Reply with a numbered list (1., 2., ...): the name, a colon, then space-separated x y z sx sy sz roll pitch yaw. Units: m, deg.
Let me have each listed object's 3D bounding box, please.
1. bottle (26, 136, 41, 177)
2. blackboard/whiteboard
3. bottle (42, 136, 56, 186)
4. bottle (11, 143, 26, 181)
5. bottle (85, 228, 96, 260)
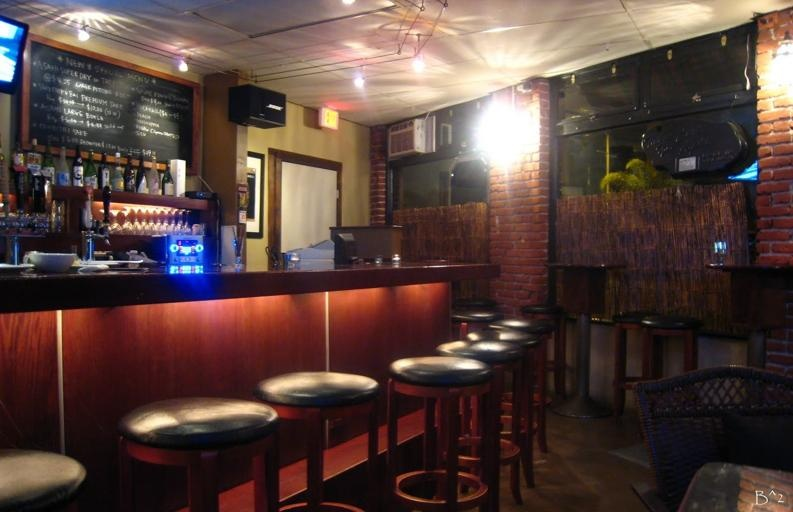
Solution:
1. bottle: -3.084 -0.834 5.387 0.109 0.315 0.307 -5 2 -27
2. blackboard/whiteboard: -2.683 -1.426 5.808 0.061 0.736 1.332 -3 -4 39
3. bottle: -3.011 -0.807 5.463 0.107 0.349 0.293 -5 2 -28
4. bottle: -3.170 -0.785 5.294 0.120 0.241 0.362 -5 2 -29
5. bottle: -1.907 -0.070 3.927 0.059 0.177 0.204 -5 2 -33
